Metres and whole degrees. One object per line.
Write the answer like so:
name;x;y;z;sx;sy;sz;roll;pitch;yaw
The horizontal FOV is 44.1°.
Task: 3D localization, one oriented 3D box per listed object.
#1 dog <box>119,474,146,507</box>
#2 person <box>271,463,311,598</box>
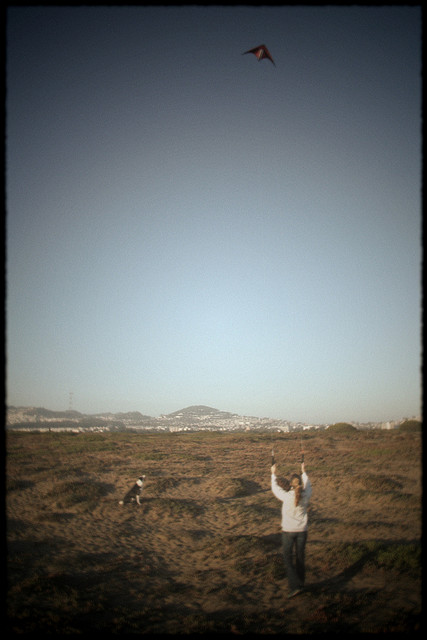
dog;-2.272;4.762;14.598;0.620;0.680;0.588;-1;-1;-7
person;1.406;3.962;9.512;0.582;2.394;0.702;-1;-1;18
